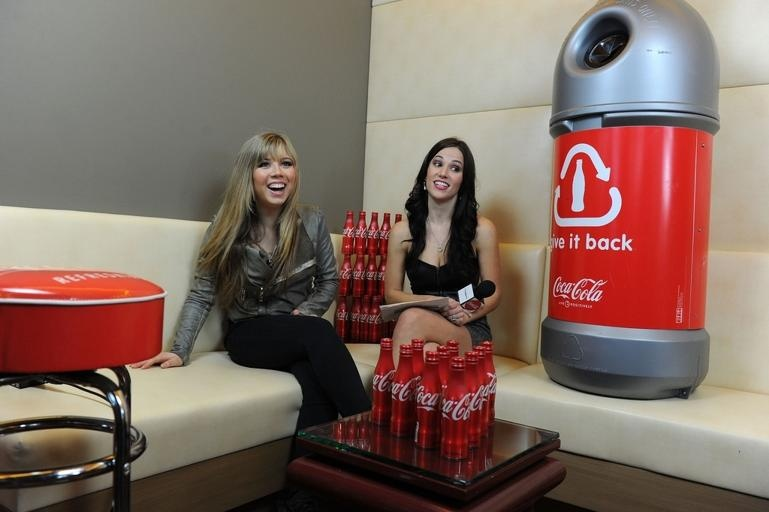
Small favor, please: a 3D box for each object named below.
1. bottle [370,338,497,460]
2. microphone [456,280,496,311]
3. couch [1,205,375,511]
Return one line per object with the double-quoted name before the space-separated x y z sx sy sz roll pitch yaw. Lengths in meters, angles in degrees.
"bottle" 0.157 0.439 1.799 0.313 0.308 0.324 2 -5 -3
"microphone" 0.433 0.191 2.646 0.115 0.111 0.211 -8 -15 -44
"couch" -0.763 0.393 2.134 0.648 0.901 1.292 1 2 44
